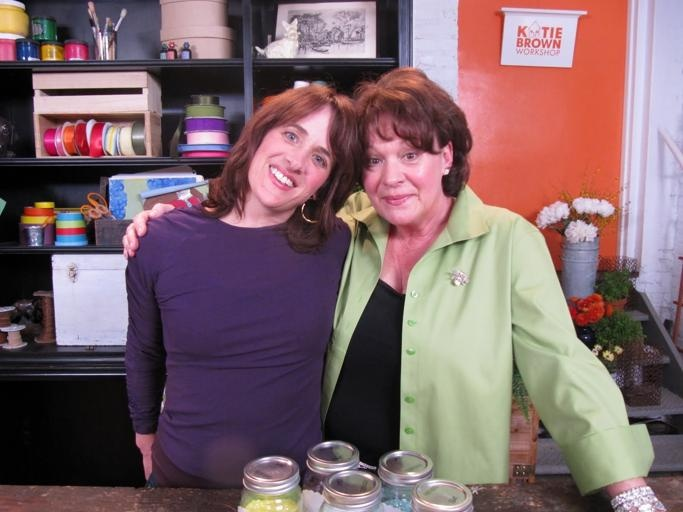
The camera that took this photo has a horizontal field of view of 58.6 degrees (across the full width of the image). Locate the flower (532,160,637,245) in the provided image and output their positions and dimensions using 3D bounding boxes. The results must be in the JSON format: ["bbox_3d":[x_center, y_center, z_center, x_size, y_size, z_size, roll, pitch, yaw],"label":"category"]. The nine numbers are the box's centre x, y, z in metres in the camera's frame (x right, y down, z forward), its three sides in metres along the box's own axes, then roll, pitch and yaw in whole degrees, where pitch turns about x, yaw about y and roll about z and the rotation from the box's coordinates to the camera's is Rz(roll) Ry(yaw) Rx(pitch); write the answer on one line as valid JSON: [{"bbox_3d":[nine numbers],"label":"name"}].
[{"bbox_3d":[1.514,-0.277,4.010,0.519,0.360,0.487,9,4,-41],"label":"flower"}]

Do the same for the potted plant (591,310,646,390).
[{"bbox_3d":[1.687,0.548,3.803,0.387,0.491,0.202,-5,0,-4],"label":"potted plant"}]

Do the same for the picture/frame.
[{"bbox_3d":[-0.069,-1.255,3.400,0.426,0.241,0.010,0,0,3],"label":"picture/frame"}]

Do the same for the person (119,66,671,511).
[{"bbox_3d":[0.425,0.050,2.087,1.154,1.393,0.442,4,12,30],"label":"person"}]

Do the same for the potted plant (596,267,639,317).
[{"bbox_3d":[1.802,0.226,4.083,0.320,0.315,0.261,-2,7,-1],"label":"potted plant"}]
